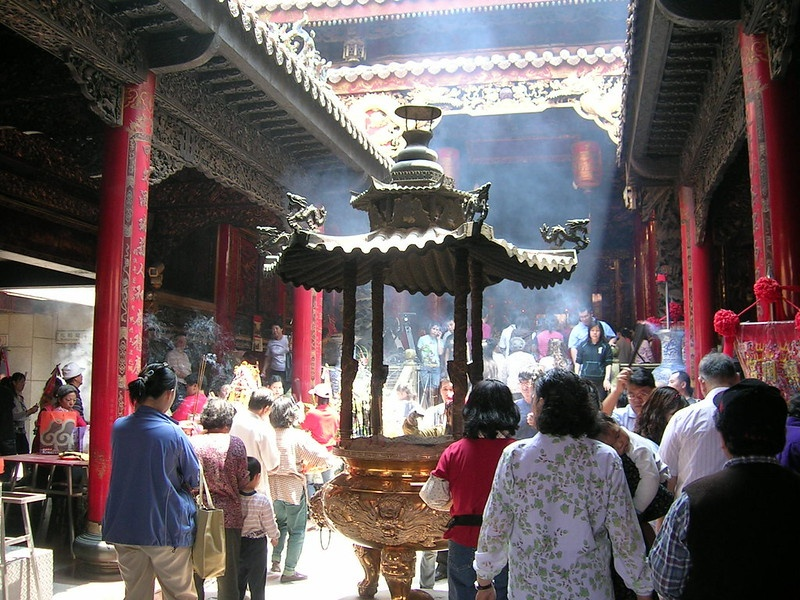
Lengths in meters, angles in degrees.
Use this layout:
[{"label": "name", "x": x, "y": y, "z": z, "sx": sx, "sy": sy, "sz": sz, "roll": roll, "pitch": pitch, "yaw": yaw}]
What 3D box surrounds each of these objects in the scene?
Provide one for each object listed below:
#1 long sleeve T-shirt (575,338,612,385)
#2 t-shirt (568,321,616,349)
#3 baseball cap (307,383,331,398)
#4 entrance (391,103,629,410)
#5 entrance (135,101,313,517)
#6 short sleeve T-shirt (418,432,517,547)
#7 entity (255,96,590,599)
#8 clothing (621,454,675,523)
[{"label": "long sleeve T-shirt", "x": 2.426, "y": 0.777, "z": 9.941, "sx": 0.532, "sy": 0.749, "sz": 0.286, "roll": -4, "pitch": -23, "yaw": 23}, {"label": "t-shirt", "x": 2.866, "y": 0.548, "z": 11.977, "sx": 0.521, "sy": 0.442, "sz": 0.260, "roll": -9, "pitch": -12, "yaw": 27}, {"label": "baseball cap", "x": -0.963, "y": 1.078, "z": 9.449, "sx": 0.294, "sy": 0.156, "sz": 0.218, "roll": 12, "pitch": 1, "yaw": 40}, {"label": "entrance", "x": 0.538, "y": -0.303, "z": 6.690, "sx": 2.095, "sy": 2.694, "sz": 2.109, "roll": -1, "pitch": -5, "yaw": 4}, {"label": "entrance", "x": -2.055, "y": -0.066, "z": 9.200, "sx": 0.288, "sy": 4.799, "sz": 4.144, "roll": -3, "pitch": -6, "yaw": 16}, {"label": "short sleeve T-shirt", "x": 0.450, "y": 1.205, "z": 4.968, "sx": 0.653, "sy": 0.607, "sz": 0.363, "roll": 7, "pitch": -8, "yaw": -10}, {"label": "entity", "x": -0.323, "y": 0.714, "z": 7.509, "sx": 3.324, "sy": 4.809, "sz": 3.673, "roll": 2, "pitch": -5, "yaw": -14}, {"label": "clothing", "x": 1.370, "y": 1.035, "z": 4.516, "sx": 0.295, "sy": 0.393, "sz": 0.153, "roll": -19, "pitch": 6, "yaw": 0}]
